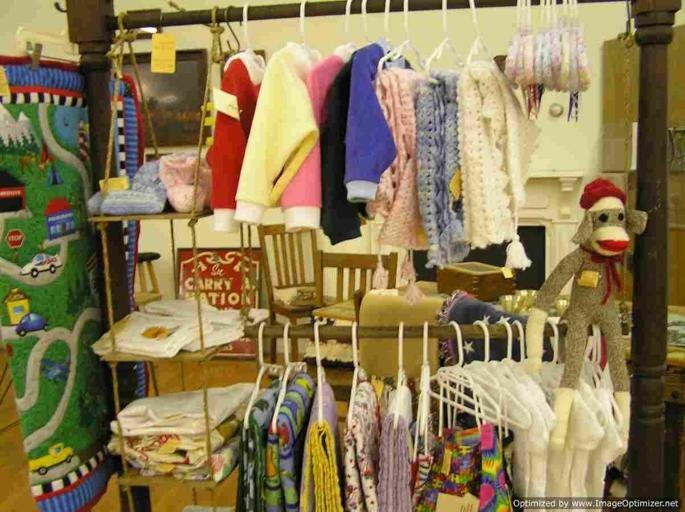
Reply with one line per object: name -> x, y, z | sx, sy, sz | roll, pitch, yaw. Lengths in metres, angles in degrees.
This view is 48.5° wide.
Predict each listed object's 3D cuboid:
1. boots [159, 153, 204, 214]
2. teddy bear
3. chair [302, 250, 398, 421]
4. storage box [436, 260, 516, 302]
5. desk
boots -> -0.552, -0.253, 2.571 | 0.147, 0.206, 0.074 | -11, -7, -40
teddy bear -> 0.784, 0.170, 2.451 | 0.318, 0.913, 0.301 | -4, 19, -1
chair -> 0.027, 0.276, 4.669 | 0.508, 0.952, 0.594 | 1, -1, 8
storage box -> 0.641, 0.067, 3.715 | 0.228, 0.156, 0.326 | 0, 3, -16
desk -> 0.553, 0.480, 2.547 | 0.810, 0.385, 1.182 | 3, 0, 6
